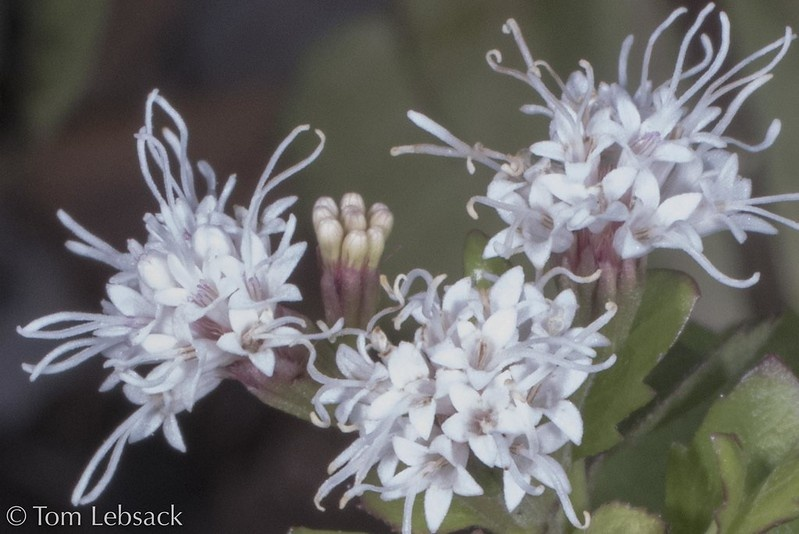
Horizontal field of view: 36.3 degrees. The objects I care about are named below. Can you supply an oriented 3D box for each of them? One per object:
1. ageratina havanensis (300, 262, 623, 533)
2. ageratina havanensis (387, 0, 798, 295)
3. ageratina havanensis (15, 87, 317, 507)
[{"bbox_3d":[0.093,0.170,1.709,0.399,0.379,0.137,-59,-13,-1],"label":"ageratina havanensis"},{"bbox_3d":[0.344,-0.156,1.909,0.478,0.499,0.197,-33,-13,2],"label":"ageratina havanensis"},{"bbox_3d":[-0.332,-0.003,1.904,0.507,0.650,0.277,-14,-16,-1],"label":"ageratina havanensis"}]
